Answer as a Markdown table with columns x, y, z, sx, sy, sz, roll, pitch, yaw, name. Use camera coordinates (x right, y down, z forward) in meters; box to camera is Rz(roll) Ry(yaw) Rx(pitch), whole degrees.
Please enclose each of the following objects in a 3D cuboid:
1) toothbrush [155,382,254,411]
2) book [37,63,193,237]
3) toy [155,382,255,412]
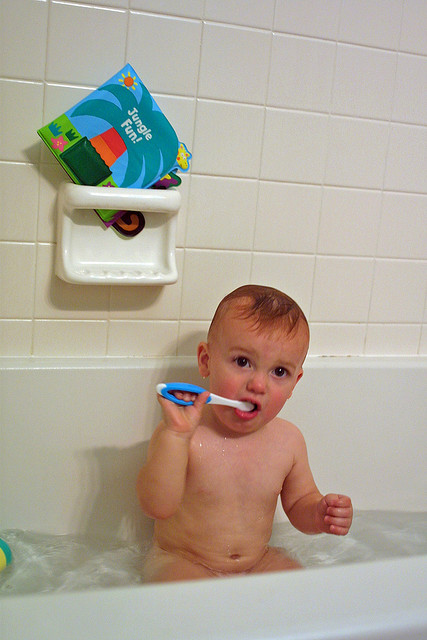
| x | y | z | sx | sy | sz | roll | pitch | yaw | name |
| --- | --- | --- | --- | --- | --- | --- | --- | --- | --- |
| -0.010 | 0.113 | 0.804 | 0.147 | 0.017 | 0.036 | 12 | 42 | -21 | toothbrush |
| -0.193 | -0.339 | 1.079 | 0.276 | 0.305 | 0.053 | 8 | 4 | -18 | book |
| -0.009 | 0.114 | 0.805 | 0.153 | 0.018 | 0.038 | 12 | 48 | -23 | toy |
